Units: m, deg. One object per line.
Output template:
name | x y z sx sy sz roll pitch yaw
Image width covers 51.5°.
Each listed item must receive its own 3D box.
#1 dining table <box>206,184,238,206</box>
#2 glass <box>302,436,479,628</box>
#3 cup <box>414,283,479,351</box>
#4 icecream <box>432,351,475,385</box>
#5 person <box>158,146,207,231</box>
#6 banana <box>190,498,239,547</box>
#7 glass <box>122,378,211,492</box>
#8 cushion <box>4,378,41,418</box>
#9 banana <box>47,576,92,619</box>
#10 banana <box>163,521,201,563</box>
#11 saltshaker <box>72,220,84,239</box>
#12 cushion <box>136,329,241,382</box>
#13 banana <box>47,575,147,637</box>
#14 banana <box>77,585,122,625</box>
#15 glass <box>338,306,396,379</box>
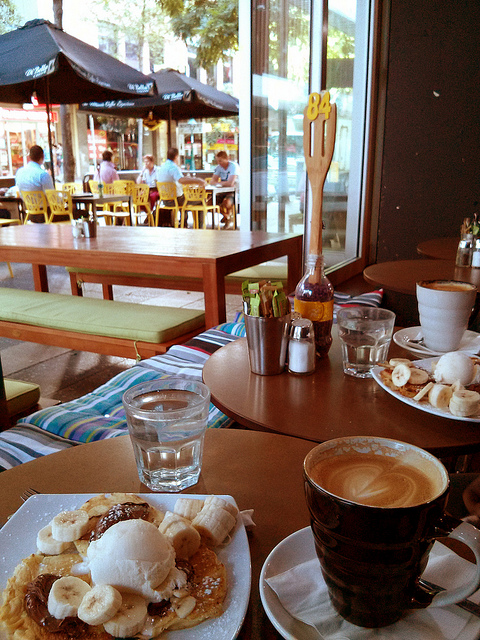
dining table | -0.326 -2.062 8.142 0.464 0.323 0.438 2 16 3
glass | 0.103 0.164 0.385 0.106 0.117 0.141 -2 16 -2
cup | 0.424 -0.010 1.095 0.137 0.145 0.140 0 9 0
icecream | 0.359 0.084 0.835 0.064 0.051 0.044 6 17 22
person | -0.943 -2.116 8.092 0.732 1.270 0.702 -2 16 -3
banana | -0.023 0.193 0.476 0.039 0.033 0.039 12 40 31
glass | -0.076 0.136 0.650 0.127 0.134 0.123 0 14 2
cushion | -0.741 0.250 1.662 0.115 0.054 0.121 11 23 27
banana | -0.132 0.214 0.386 0.029 0.012 0.028 -3 24 -23
banana | -0.053 0.197 0.458 0.031 0.031 0.036 5 3 -7
saltshaker | -1.072 -0.598 3.282 0.065 0.115 0.126 -6 17 -17
cushion | -0.181 0.122 1.744 0.175 0.054 0.238 9 19 29
banana | -0.110 0.208 0.370 0.059 0.015 0.036 7 19 15
banana | -0.104 0.207 0.365 0.027 0.006 0.026 -25 28 -9
glass | 0.246 0.041 1.012 0.098 0.148 0.111 8 18 17
